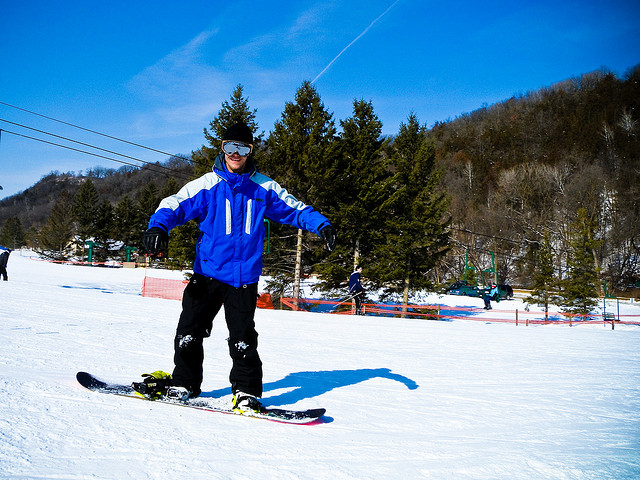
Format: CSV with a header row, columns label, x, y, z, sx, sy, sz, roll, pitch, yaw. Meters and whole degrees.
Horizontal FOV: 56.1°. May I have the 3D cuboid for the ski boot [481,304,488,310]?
label,x,y,z,sx,sy,sz,roll,pitch,yaw
ski boot,8.030,3.275,29.332,0.315,0.313,0.215,2,-13,5

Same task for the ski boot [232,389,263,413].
label,x,y,z,sx,sy,sz,roll,pitch,yaw
ski boot,-0.798,1.746,6.521,0.306,0.230,0.138,4,-6,-9

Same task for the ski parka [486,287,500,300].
label,x,y,z,sx,sy,sz,roll,pitch,yaw
ski parka,9.985,3.073,34.383,0.557,0.663,1.498,1,-5,16

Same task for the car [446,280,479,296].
label,x,y,z,sx,sy,sz,roll,pitch,yaw
car,9.285,3.173,38.852,1.543,0.714,1.040,-1,-5,38

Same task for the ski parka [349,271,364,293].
label,x,y,z,sx,sy,sz,roll,pitch,yaw
ski parka,1.162,1.388,19.897,0.346,0.718,0.738,3,-5,2

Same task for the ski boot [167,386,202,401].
label,x,y,z,sx,sy,sz,roll,pitch,yaw
ski boot,-1.509,1.673,6.649,0.154,0.089,0.250,2,-2,36

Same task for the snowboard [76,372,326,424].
label,x,y,z,sx,sy,sz,roll,pitch,yaw
snowboard,-1.344,1.727,6.683,2.763,0.197,0.406,10,0,-3
